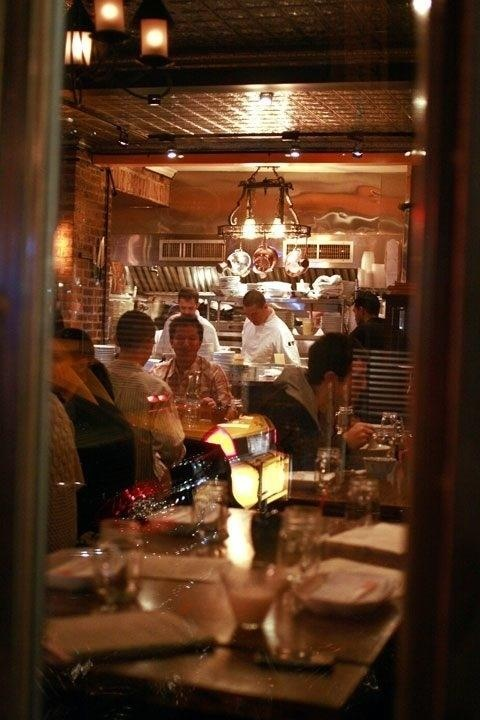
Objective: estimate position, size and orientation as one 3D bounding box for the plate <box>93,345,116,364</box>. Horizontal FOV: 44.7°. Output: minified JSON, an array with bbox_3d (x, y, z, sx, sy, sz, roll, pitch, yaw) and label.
[{"bbox_3d":[-0.844,-0.031,3.616,0.128,0.119,0.126,0,3,-2],"label":"plate"}]

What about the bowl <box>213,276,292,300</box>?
[{"bbox_3d":[0.130,-0.836,6.920,0.863,0.267,0.437,-4,7,-37],"label":"bowl"}]

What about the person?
[{"bbox_3d":[0.258,0.108,2.975,1.397,0.971,1.130,2,8,17],"label":"person"}]

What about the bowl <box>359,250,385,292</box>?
[{"bbox_3d":[1.552,-1.044,6.884,0.316,0.395,0.450,2,15,11],"label":"bowl"}]
